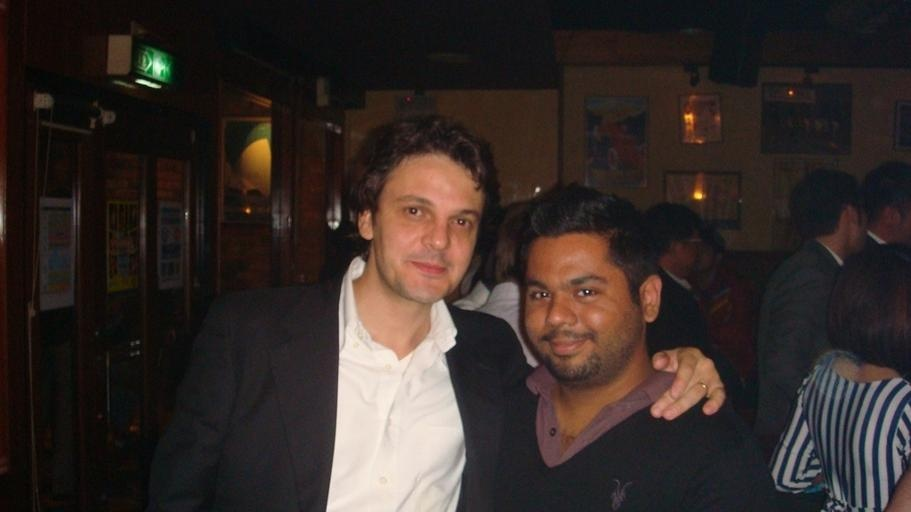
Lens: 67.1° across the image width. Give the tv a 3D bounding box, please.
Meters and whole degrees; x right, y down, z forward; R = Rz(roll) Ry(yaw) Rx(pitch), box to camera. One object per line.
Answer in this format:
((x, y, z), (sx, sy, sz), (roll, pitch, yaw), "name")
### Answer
((3.657, -1.452, 7.088), (0.923, 0.666, 0.125), (1, 2, 11), "tv")
